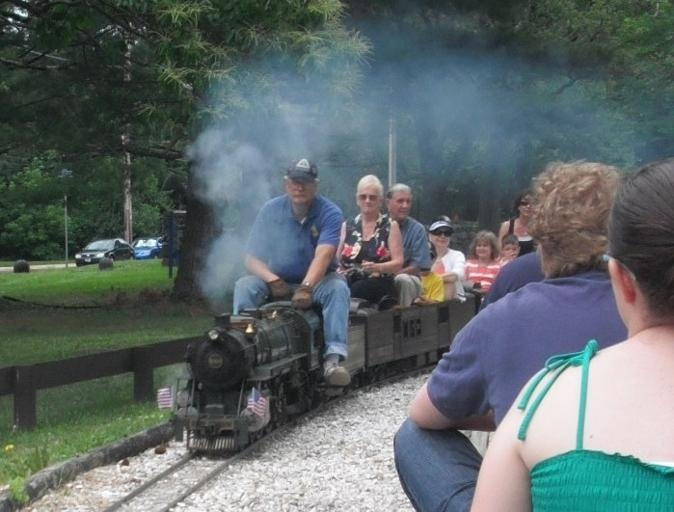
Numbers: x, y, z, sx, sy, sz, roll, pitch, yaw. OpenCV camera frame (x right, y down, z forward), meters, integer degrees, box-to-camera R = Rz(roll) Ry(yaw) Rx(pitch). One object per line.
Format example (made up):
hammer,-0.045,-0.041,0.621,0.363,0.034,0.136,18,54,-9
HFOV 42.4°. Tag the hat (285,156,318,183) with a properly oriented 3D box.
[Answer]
hat,-0.328,-0.803,8.229,0.301,0.210,0.292,-1,3,-8

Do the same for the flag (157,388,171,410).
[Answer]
flag,-1.445,1.190,7.342,0.111,0.198,0.206,-1,3,-8

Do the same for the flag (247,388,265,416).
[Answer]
flag,-0.663,1.197,7.157,0.140,0.263,0.268,-1,3,-6

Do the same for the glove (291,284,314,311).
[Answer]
glove,-0.304,0.371,7.869,0.157,0.215,0.078,3,2,-2

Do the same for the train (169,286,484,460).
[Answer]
train,0.134,1.068,9.689,1.084,1.344,5.666,-1,-1,30

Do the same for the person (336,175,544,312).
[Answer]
person,1.081,-0.230,8.664,1.128,1.478,2.709,-3,-6,15
